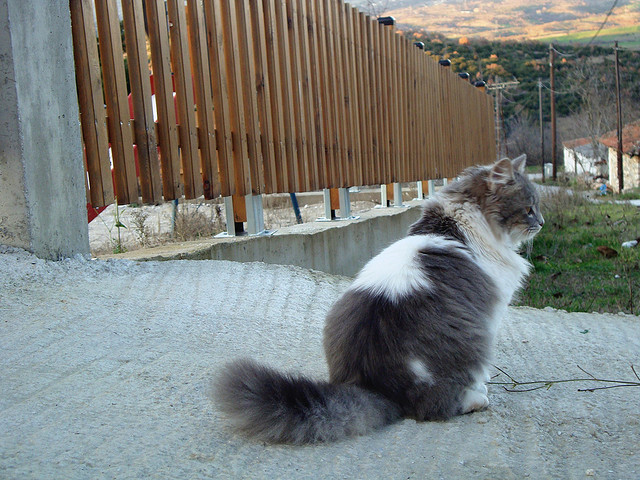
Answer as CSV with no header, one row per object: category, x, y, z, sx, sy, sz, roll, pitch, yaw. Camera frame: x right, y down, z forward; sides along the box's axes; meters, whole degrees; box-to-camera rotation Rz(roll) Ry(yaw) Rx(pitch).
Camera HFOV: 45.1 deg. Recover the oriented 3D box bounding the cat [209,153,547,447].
cat,0.549,0.484,4.750,2.615,1.526,0.878,-17,7,-35
